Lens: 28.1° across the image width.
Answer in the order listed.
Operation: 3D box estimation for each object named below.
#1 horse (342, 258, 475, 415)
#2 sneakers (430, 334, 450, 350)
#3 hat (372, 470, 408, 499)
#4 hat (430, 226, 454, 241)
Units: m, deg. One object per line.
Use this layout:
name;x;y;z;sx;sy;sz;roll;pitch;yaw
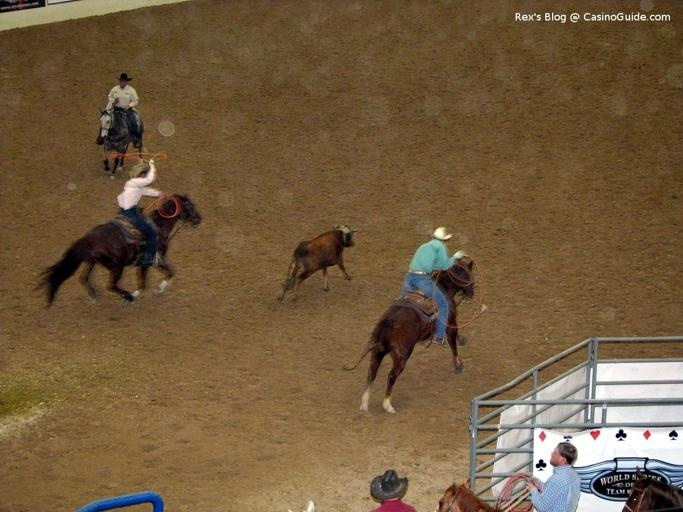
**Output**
horse;1.708;1.777;30.377;1.713;3.941;1.952;19;-22;10
sneakers;2.225;1.924;30.760;0.255;0.222;0.704;11;9;40
hat;0.851;4.321;25.493;0.716;0.221;0.680;12;31;29
hat;2.244;-0.466;30.152;0.477;0.126;0.417;5;11;19
